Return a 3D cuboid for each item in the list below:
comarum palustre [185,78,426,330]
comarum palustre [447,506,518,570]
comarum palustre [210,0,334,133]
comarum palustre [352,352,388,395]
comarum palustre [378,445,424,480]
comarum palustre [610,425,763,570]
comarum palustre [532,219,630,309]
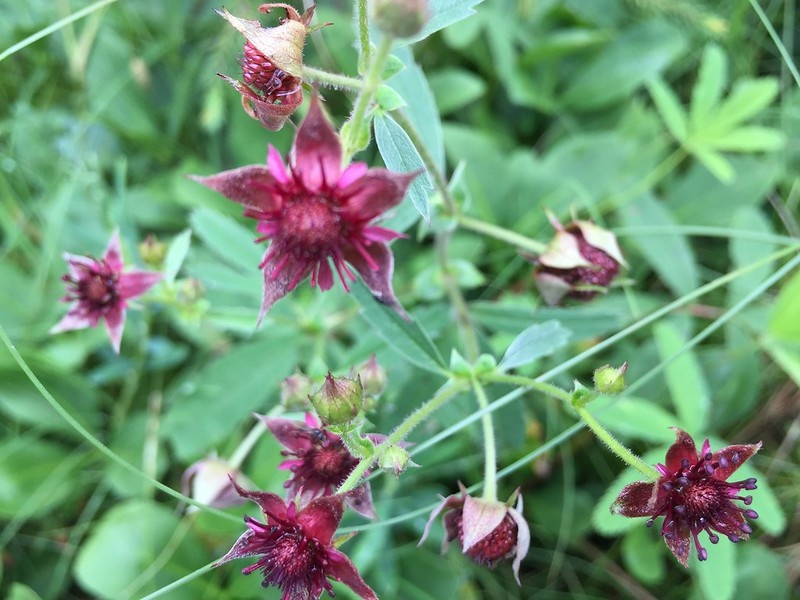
[{"bbox_3d":[-0.159,-0.259,1.660,0.485,0.586,0.283,2,59,-2],"label":"comarum palustre"},{"bbox_3d":[0.185,0.557,1.715,0.169,0.158,0.112,3,69,5],"label":"comarum palustre"},{"bbox_3d":[-0.293,-0.526,1.566,0.249,0.141,0.295,10,117,0],"label":"comarum palustre"},{"bbox_3d":[-0.081,0.196,1.921,0.087,0.095,0.111,2,98,-4],"label":"comarum palustre"},{"bbox_3d":[-0.003,0.369,1.690,0.058,0.090,0.035,7,89,13],"label":"comarum palustre"},{"bbox_3d":[0.664,0.422,1.701,0.366,0.327,0.162,21,115,16],"label":"comarum palustre"},{"bbox_3d":[0.458,-0.102,1.877,0.216,0.141,0.206,6,70,6],"label":"comarum palustre"}]
